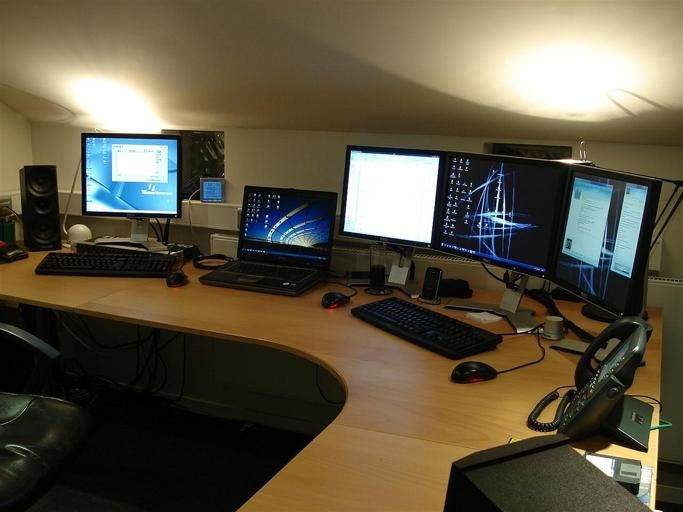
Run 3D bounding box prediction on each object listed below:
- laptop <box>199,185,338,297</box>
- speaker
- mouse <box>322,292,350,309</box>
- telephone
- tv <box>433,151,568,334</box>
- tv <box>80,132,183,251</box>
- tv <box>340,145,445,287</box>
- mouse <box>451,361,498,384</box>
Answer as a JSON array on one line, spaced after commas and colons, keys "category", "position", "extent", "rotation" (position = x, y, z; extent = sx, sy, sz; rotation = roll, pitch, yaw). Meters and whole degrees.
[{"category": "laptop", "position": [-0.344, -0.082, 2.558], "extent": [0.520, 0.345, 0.458], "rotation": [7, -18, -40]}, {"category": "speaker", "position": [-1.558, -0.243, 2.726], "extent": [0.169, 0.435, 0.099], "rotation": [-2, 13, -17]}, {"category": "mouse", "position": [-0.032, 0.172, 2.107], "extent": [0.060, 0.029, 0.090], "rotation": [7, 10, 39]}, {"category": "telephone", "position": [0.693, 0.312, 1.422], "extent": [0.277, 0.274, 0.391], "rotation": [9, 14, 32]}, {"category": "tv", "position": [0.605, -0.053, 2.015], "extent": [0.301, 0.661, 0.571], "rotation": [-11, 20, -38]}, {"category": "tv", "position": [-1.054, -0.341, 2.661], "extent": [0.640, 0.677, 0.233], "rotation": [2, 5, 4]}, {"category": "tv", "position": [0.231, -0.176, 2.277], "extent": [0.544, 0.660, 0.247], "rotation": [9, 16, 25]}, {"category": "mouse", "position": [0.393, 0.348, 1.580], "extent": [0.114, 0.036, 0.063], "rotation": [-8, 18, -10]}]
